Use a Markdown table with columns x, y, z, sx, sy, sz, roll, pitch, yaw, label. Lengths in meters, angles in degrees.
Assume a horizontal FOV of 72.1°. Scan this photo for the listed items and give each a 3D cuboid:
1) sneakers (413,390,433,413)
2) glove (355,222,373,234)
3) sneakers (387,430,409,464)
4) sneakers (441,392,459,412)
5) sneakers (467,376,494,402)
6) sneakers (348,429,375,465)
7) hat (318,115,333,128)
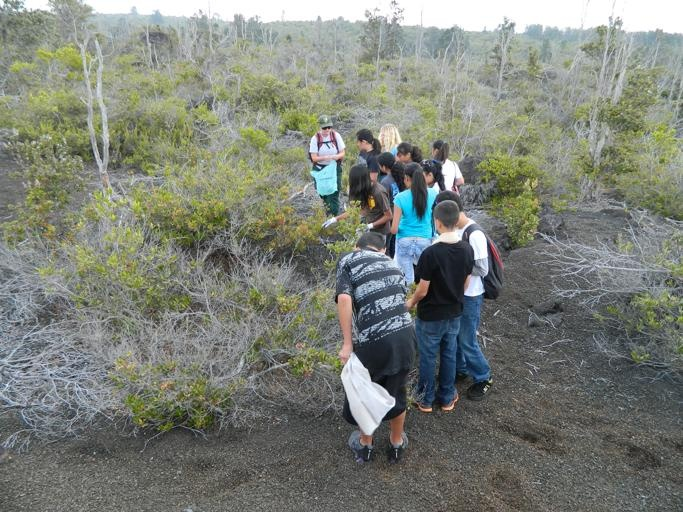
| x | y | z | sx | sy | sz | roll | pitch | yaw | label |
| --- | --- | --- | --- | --- | --- | --- | --- | --- | --- |
| 1.033 | 1.877 | 5.952 | 0.137 | 0.163 | 0.357 | -3 | 15 | -14 | sneakers |
| 0.340 | -0.409 | 6.854 | 0.131 | 0.206 | 0.188 | 15 | 16 | 17 | glove |
| 0.639 | 2.227 | 5.409 | 0.156 | 0.182 | 0.384 | -3 | 33 | 11 | sneakers |
| 1.408 | 1.880 | 6.077 | 0.125 | 0.170 | 0.337 | 0 | 34 | 42 | sneakers |
| 1.798 | 1.744 | 6.192 | 0.406 | 0.183 | 0.175 | -36 | 34 | -11 | sneakers |
| 0.226 | 2.184 | 5.435 | 0.303 | 0.313 | 0.233 | 7 | 21 | 16 | sneakers |
| -0.281 | -2.332 | 8.246 | 0.235 | 0.175 | 0.336 | -6 | 36 | -5 | hat |
